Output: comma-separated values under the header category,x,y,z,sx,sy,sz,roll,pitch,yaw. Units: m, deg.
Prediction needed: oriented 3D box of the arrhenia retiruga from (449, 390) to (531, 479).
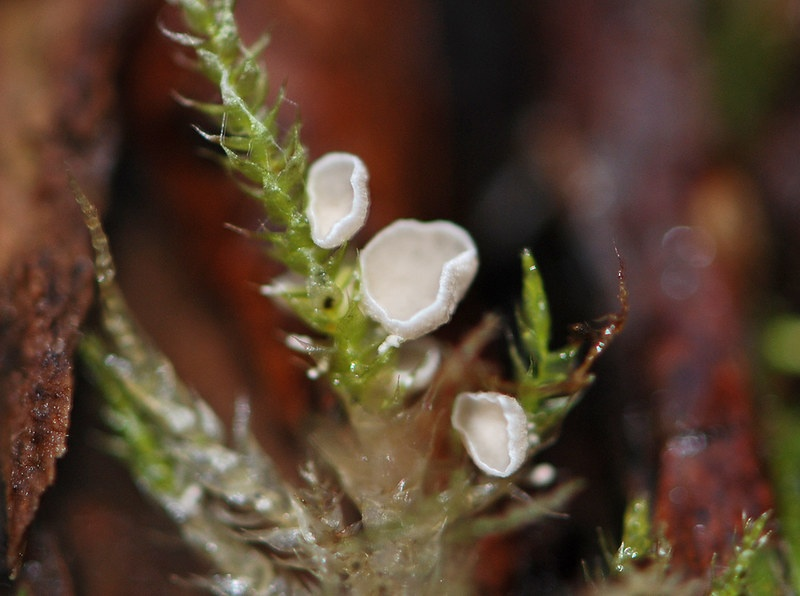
category,x,y,z,sx,sy,sz,roll,pitch,yaw
arrhenia retiruga,0.140,0.213,1.412,0.133,0.112,0.114,19,49,9

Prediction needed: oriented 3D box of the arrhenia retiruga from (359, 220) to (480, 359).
category,x,y,z,sx,sy,sz,roll,pitch,yaw
arrhenia retiruga,0.046,-0.013,1.444,0.154,0.091,0.204,24,80,38

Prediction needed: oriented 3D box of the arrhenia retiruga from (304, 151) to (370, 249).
category,x,y,z,sx,sy,sz,roll,pitch,yaw
arrhenia retiruga,-0.092,-0.158,1.388,0.090,0.045,0.161,-16,67,31
